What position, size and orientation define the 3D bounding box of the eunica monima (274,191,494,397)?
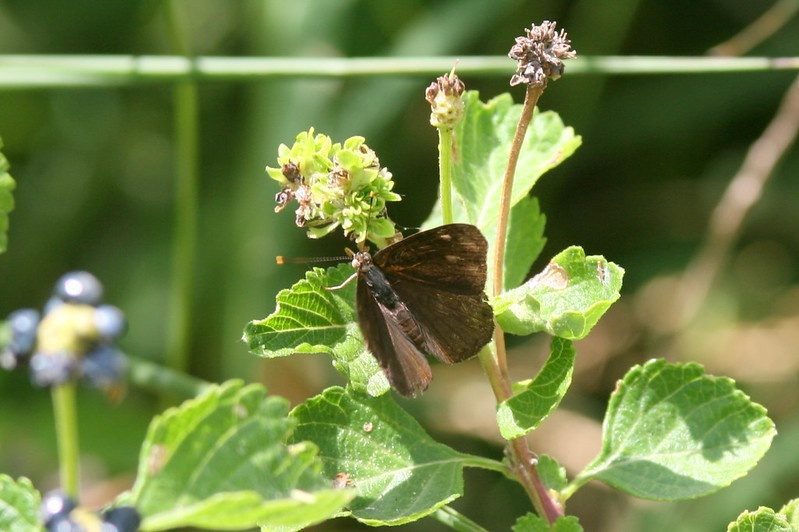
[{"bbox_3d":[0.064,0.123,2.919,0.606,0.612,0.439,-24,-27,15],"label":"eunica monima"}]
